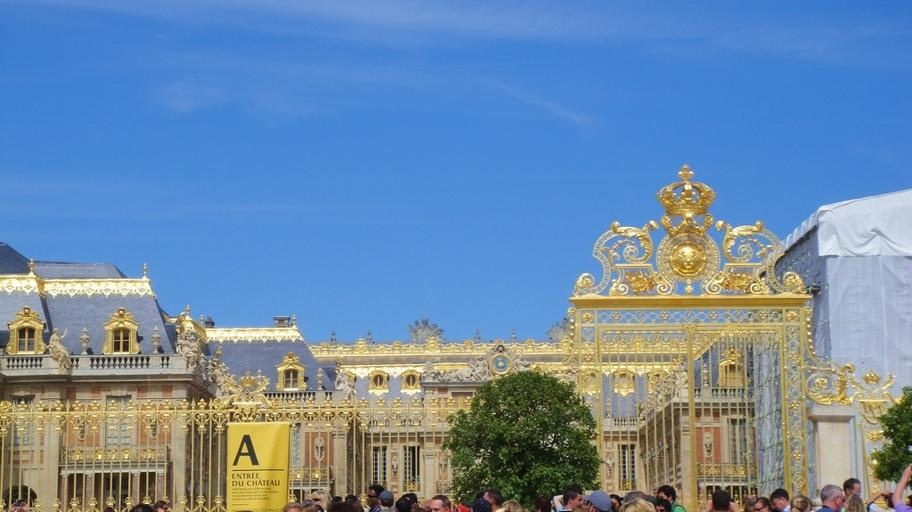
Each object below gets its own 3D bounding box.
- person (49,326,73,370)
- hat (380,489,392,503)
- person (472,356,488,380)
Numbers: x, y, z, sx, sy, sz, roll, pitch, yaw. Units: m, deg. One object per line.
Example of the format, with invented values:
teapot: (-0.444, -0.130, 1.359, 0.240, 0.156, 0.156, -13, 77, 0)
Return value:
person: (-16.886, 4.040, 106.747, 0.929, 2.125, 1.604, 3, -14, -23)
hat: (-2.427, 7.934, 82.677, 0.529, 0.323, 0.756, 6, -13, 0)
person: (1.140, 5.353, 117.832, 0.969, 1.181, 0.369, 7, -14, -17)
